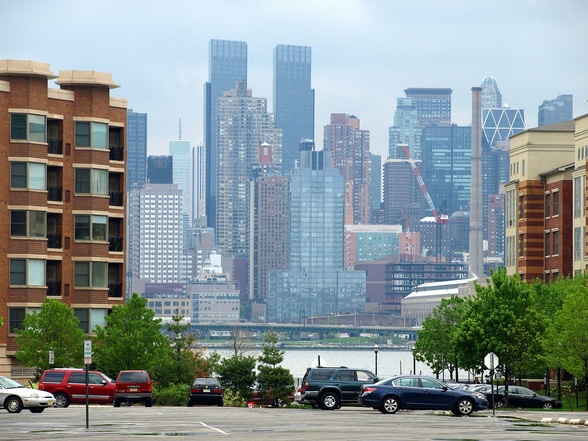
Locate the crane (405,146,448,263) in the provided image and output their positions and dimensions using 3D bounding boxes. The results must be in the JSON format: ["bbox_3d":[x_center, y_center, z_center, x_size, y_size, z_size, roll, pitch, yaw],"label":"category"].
[{"bbox_3d":[70.286,-7.712,889.744,14.519,83.282,7.727,1,-9,-2],"label":"crane"}]

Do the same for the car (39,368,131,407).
[{"bbox_3d":[-17.355,13.586,138.589,5.520,2.126,2.922,-1,2,-4],"label":"car"}]

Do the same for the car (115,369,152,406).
[{"bbox_3d":[-13.001,13.773,140.256,2.944,2.851,2.837,2,-11,-11],"label":"car"}]

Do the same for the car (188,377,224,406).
[{"bbox_3d":[-7.211,14.433,143.054,2.745,2.450,1.453,0,-10,-7],"label":"car"}]
